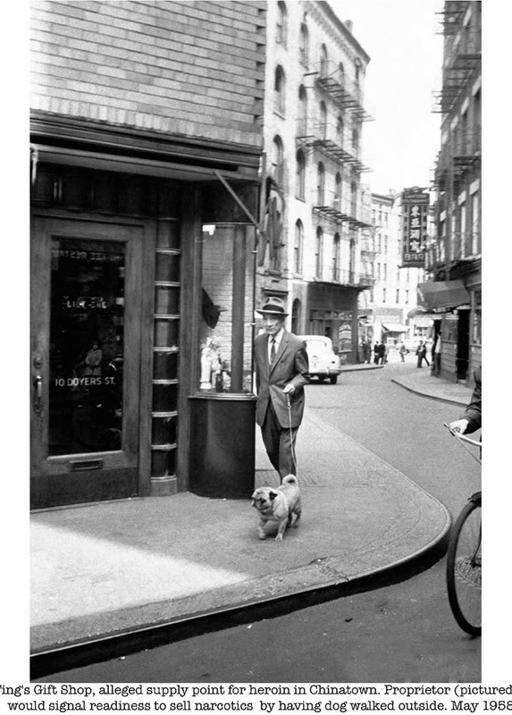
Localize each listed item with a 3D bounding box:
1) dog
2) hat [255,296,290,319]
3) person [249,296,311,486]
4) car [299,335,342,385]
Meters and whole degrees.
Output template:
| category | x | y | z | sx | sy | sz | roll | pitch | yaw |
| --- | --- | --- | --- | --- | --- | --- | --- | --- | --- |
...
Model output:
| category | x | y | z | sx | sy | sz | roll | pitch | yaw |
| --- | --- | --- | --- | --- | --- | --- | --- | --- | --- |
| dog | 0.176 | 1.173 | 5.632 | 0.280 | 0.432 | 0.754 | -1 | 1 | 10 |
| hat | 0.178 | -0.449 | 6.657 | 0.164 | 0.130 | 0.253 | 11 | -15 | 12 |
| person | 0.226 | 0.303 | 6.703 | 0.472 | 1.712 | 0.744 | -1 | 1 | -38 |
| car | 2.604 | 0.105 | 27.773 | 1.175 | 1.666 | 3.509 | 0 | -3 | 3 |
